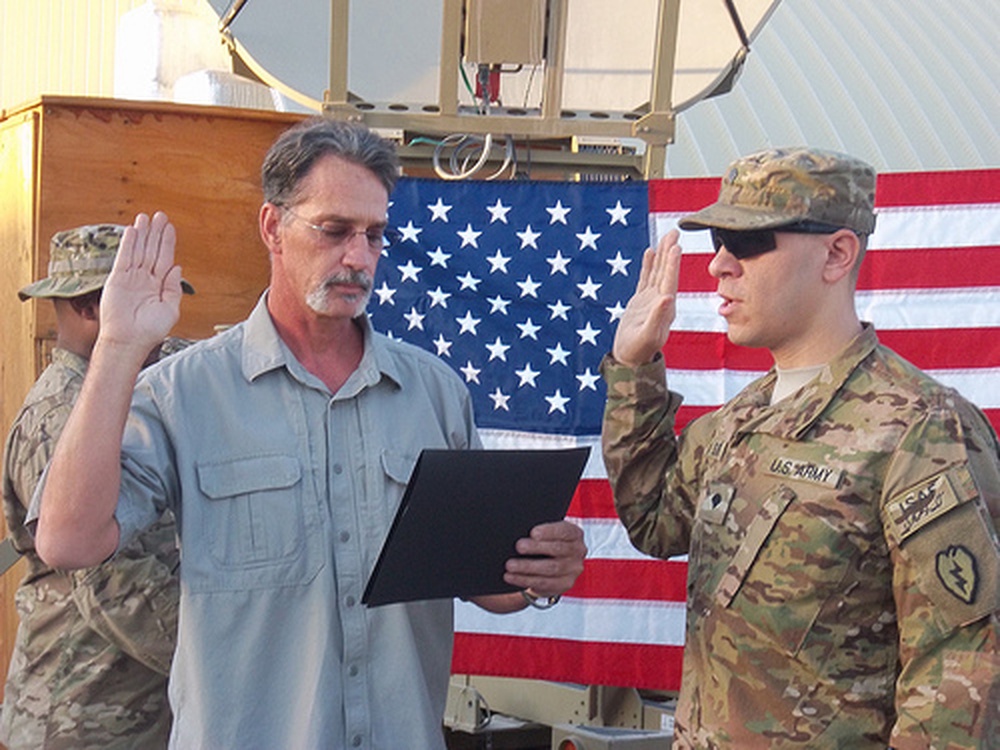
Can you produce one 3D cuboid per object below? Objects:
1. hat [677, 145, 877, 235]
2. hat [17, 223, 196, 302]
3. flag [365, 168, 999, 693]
[{"bbox_3d":[1.166,-0.713,5.716,0.512,0.259,0.393,-5,5,-24],"label":"hat"},{"bbox_3d":[-1.936,-0.520,6.669,0.410,0.174,0.415,-18,2,-37],"label":"hat"},{"bbox_3d":[0.841,0.294,6.263,2.313,1.967,0.039,1,-1,5],"label":"flag"}]
